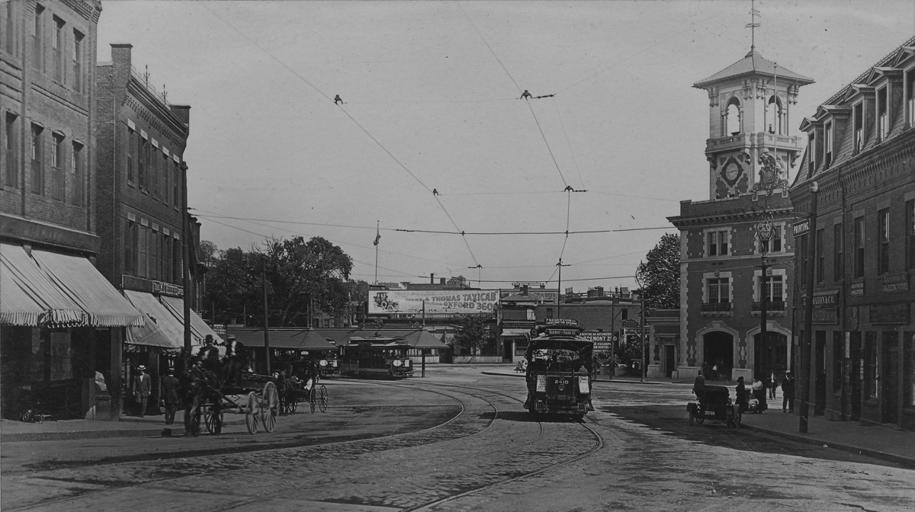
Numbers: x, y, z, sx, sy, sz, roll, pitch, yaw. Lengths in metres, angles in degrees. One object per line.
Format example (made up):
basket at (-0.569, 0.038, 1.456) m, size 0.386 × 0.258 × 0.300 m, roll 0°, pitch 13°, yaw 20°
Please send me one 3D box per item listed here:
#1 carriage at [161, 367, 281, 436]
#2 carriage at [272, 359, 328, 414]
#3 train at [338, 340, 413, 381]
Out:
carriage at (-11.267, 7.067, 72.665) m, size 2.426 × 3.066 × 4.858 m, roll -11°, pitch -17°, yaw 43°
carriage at (-8.720, 7.113, 83.301) m, size 2.359 × 2.441 × 3.520 m, roll 0°, pitch 0°, yaw -1°
train at (-5.788, 7.258, 126.570) m, size 3.051 × 3.060 × 9.155 m, roll 6°, pitch -10°, yaw -33°
